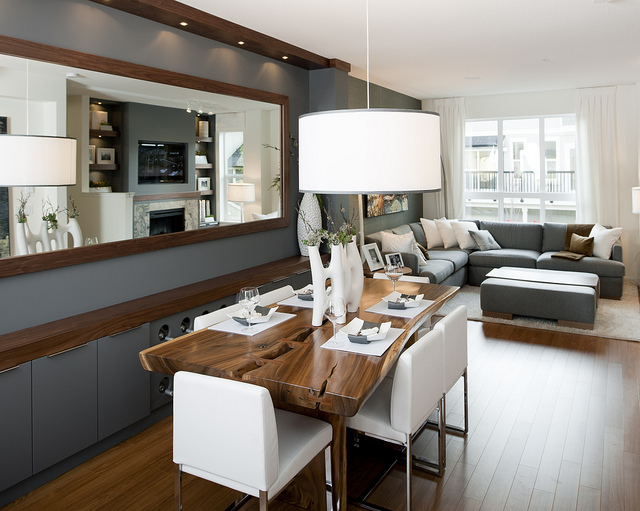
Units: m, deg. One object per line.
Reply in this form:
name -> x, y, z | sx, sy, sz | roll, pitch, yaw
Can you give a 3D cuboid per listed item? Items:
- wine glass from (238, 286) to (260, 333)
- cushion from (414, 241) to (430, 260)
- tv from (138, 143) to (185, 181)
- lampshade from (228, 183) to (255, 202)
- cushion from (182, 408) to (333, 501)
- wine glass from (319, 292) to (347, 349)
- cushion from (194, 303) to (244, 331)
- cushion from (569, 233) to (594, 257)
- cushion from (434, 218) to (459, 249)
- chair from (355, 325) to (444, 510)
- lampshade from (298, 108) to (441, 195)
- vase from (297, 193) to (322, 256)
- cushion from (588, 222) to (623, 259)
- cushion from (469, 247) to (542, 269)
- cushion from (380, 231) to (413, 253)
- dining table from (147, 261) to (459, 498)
wine glass -> -0.391, 0.296, 2.430 | 0.120, 0.283, 0.121 | 13, 20, 28
cushion -> 1.569, -0.077, 6.577 | 0.172, 0.193, 0.370 | 1, 10, 12
tv -> -1.287, -0.759, 3.525 | 0.494, 0.322, 0.041 | 4, 2, 17
lampshade -> -0.770, -0.626, 4.241 | 0.186, 0.326, 0.187 | -8, 15, -37
cushion -> -0.253, 0.882, 2.013 | 0.406, 0.146, 0.564 | 6, 13, 34
wine glass -> 0.074, 0.337, 2.237 | 0.118, 0.244, 0.121 | -1, -1, 6
cushion -> -0.620, 0.376, 2.646 | 0.112, 0.073, 0.371 | 6, 13, 35
cushion -> 3.893, -0.148, 6.442 | 0.107, 0.260, 0.312 | 7, -2, -30
cushion -> 2.117, -0.387, 7.276 | 0.420, 0.430, 0.123 | -17, -11, 42
chair -> 0.459, 0.867, 2.375 | 0.308, 0.922, 0.554 | 6, 12, 35
lampshade -> 0.232, -0.455, 1.943 | 0.435, 0.261, 0.466 | 2, 6, 20
vase -> -0.122, -0.355, 4.891 | 0.325, 0.703, 0.323 | -8, 12, -38
cushion -> 4.165, -0.231, 6.426 | 0.220, 0.505, 0.500 | 2, 9, -4
cushion -> 2.919, 0.037, 6.857 | 1.069, 0.220, 0.654 | 3, 11, 19
cushion -> 1.075, -0.183, 6.098 | 0.461, 0.267, 0.363 | 0, 10, 5
dining table -> 0.133, 0.880, 2.875 | 1.085, 1.084, 2.087 | 7, 13, 28
